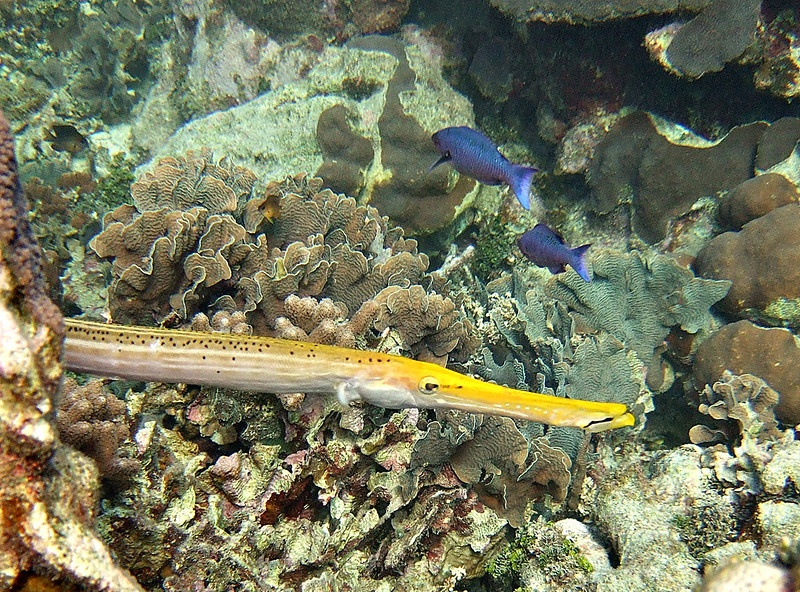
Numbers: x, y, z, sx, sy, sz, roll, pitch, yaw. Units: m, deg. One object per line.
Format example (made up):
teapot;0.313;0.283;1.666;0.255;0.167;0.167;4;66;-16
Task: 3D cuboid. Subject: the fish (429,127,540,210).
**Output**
fish;0.886;-1.473;9.653;1.087;0.439;0.705;38;33;21
